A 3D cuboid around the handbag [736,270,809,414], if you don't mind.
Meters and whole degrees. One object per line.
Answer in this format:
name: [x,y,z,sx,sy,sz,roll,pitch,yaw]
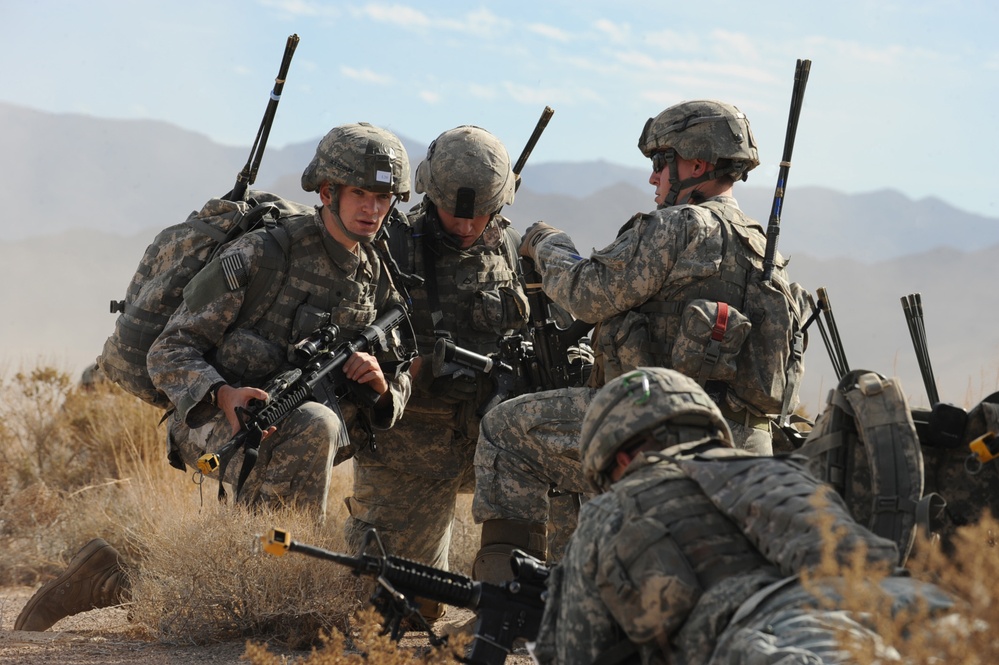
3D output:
handbag: [2.237,0.135,11.592,0.515,1.296,0.980,0,-2,-7]
